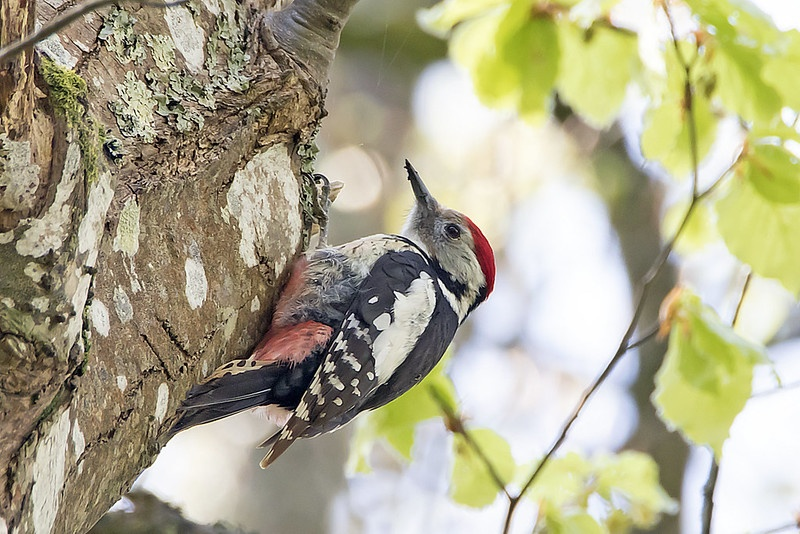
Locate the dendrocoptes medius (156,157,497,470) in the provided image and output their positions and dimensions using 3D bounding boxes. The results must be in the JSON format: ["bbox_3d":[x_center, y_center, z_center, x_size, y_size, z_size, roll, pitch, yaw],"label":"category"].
[{"bbox_3d":[-0.152,0.206,5.270,0.569,1.121,1.522,26,15,15],"label":"dendrocoptes medius"}]
